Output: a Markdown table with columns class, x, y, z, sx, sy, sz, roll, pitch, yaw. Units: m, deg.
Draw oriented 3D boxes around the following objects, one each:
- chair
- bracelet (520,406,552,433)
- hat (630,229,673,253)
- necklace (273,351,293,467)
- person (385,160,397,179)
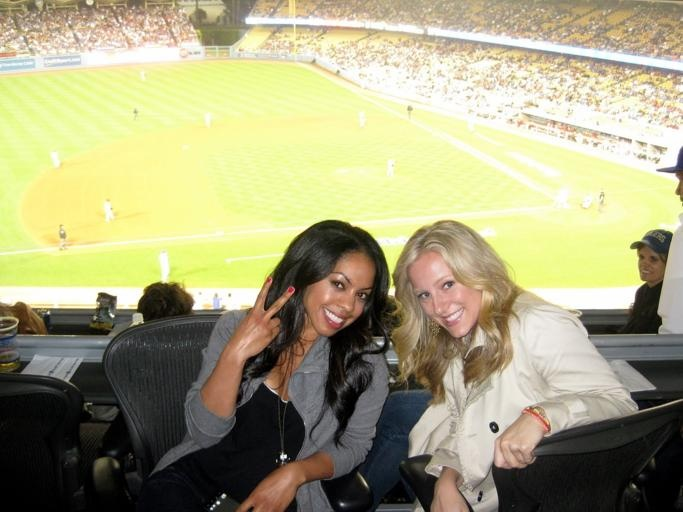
| class | x | y | z | sx | sy | sz | roll | pitch | yaw |
| --- | --- | --- | --- | --- | --- | --- | --- | --- | --- |
| chair | -0.026 | 0.592 | 2.130 | 2.020 | 0.278 | 0.459 | -3 | -22 | 4 |
| bracelet | 0.634 | 0.527 | 1.862 | 0.084 | 0.029 | 0.063 | 29 | -27 | -24 |
| hat | 2.332 | -0.117 | 4.229 | 0.301 | 0.153 | 0.203 | 10 | -3 | -12 |
| necklace | -0.216 | 0.634 | 2.195 | 0.050 | 0.267 | 0.144 | 1 | 6 | -6 |
| person | 1.605 | -2.782 | 18.191 | 0.300 | 0.607 | 0.868 | 2 | 5 | 3 |
